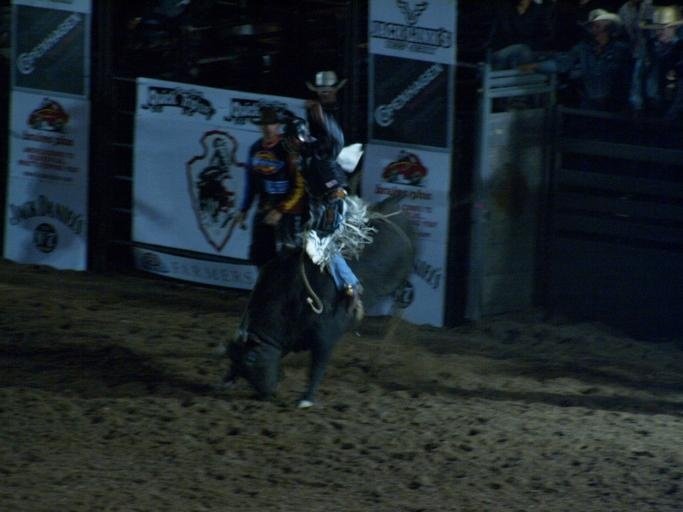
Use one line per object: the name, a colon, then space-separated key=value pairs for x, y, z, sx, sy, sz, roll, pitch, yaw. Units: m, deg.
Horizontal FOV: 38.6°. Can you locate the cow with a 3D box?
cow: x=-0.116 y=0.341 z=9.657 sx=1.144 sy=1.919 sz=2.254 roll=8 pitch=6 yaw=18

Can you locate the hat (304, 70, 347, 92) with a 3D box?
hat: x=-0.128 y=-1.752 z=9.984 sx=0.451 sy=0.121 sz=0.391 roll=0 pitch=15 yaw=9
